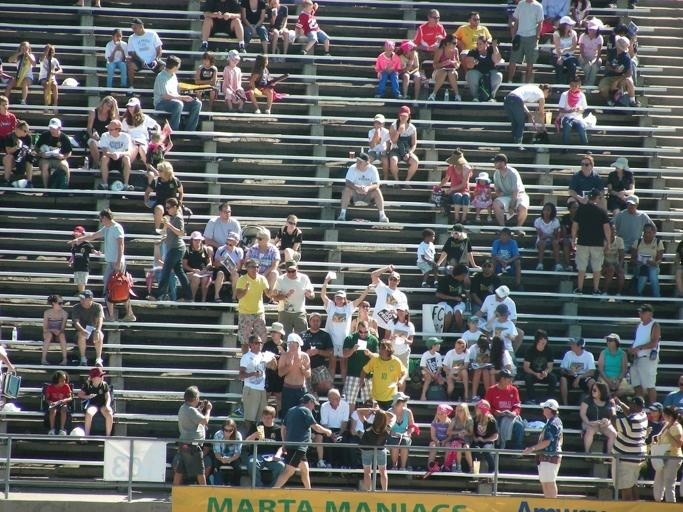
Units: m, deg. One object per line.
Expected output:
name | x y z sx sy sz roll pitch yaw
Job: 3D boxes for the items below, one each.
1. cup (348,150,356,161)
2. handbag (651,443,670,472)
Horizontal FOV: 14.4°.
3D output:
cup | 0.089 -2.244 58.643 0.181 0.175 0.193 1 93 8
handbag | 6.340 3.909 54.060 0.529 0.445 0.522 0 79 7
